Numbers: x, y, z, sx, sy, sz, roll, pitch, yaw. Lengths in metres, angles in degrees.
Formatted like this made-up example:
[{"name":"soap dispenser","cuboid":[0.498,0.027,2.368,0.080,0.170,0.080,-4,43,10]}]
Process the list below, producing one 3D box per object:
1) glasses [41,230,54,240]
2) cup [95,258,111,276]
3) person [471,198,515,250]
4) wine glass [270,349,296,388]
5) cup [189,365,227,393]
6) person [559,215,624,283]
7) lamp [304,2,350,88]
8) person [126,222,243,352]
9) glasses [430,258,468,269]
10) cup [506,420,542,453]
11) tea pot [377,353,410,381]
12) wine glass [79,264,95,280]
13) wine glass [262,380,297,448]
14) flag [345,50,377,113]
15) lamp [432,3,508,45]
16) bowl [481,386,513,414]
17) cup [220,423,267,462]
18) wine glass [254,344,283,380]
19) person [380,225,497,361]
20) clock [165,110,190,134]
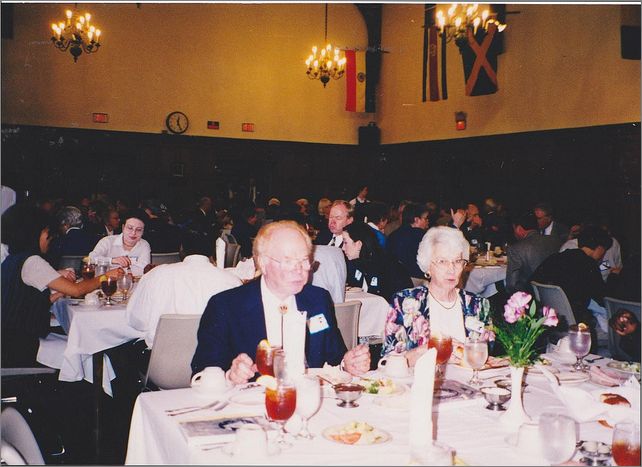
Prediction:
[{"name":"glasses","cuboid":[-1.848,0.009,3.827,0.036,0.055,0.053,-5,10,-5]},{"name":"cup","cuboid":[-1.785,0.277,4.617,0.117,0.191,0.114,1,-8,0]},{"name":"person","cuboid":[2.736,-0.135,8.926,0.652,0.656,2.010,3,16,14]},{"name":"wine glass","cuboid":[-0.162,0.537,2.288,0.110,0.167,0.105,-1,-17,-4]},{"name":"cup","cuboid":[-0.522,0.677,2.631,0.162,0.114,0.103,2,0,-20]},{"name":"person","cuboid":[2.751,0.157,5.704,0.601,0.809,0.462,5,-20,3]},{"name":"lamp","cuboid":[0.123,-4.069,11.912,0.853,1.974,1.583,-1,2,1]},{"name":"person","cuboid":[-1.073,0.375,4.267,0.903,0.910,0.504,1,31,-9]},{"name":"glasses","cuboid":[0.754,0.168,3.199,0.239,0.052,0.092,-1,1,-23]},{"name":"cup","cuboid":[0.825,0.822,2.300,0.134,0.098,0.128,-1,1,0]},{"name":"tea pot","cuboid":[0.368,0.671,2.876,0.135,0.095,0.103,-5,-4,37]},{"name":"wine glass","cuboid":[-1.851,0.320,4.554,0.129,0.144,0.128,2,-8,1]},{"name":"wine glass","cuboid":[-0.160,0.703,2.289,0.126,0.278,0.170,-1,2,-3]},{"name":"flag","cuboid":[0.877,-3.477,12.855,0.516,1.387,1.474,0,2,17]},{"name":"lamp","cuboid":[2.513,-3.764,9.840,0.880,0.612,0.872,-21,36,-24]},{"name":"bowl","cuboid":[0.786,0.744,2.534,0.098,0.053,0.101,0,-6,0]},{"name":"cup","cuboid":[-0.288,0.820,2.219,0.157,0.145,0.104,-5,-12,26]},{"name":"wine glass","cuboid":[-0.241,0.559,2.483,0.138,0.161,0.143,1,-7,-3]},{"name":"person","cuboid":[0.669,0.329,3.232,0.648,0.728,0.166,-1,2,-6]},{"name":"clock","cuboid":[-2.922,-2.256,11.484,0.436,0.446,0.100,-2,10,-32]}]
